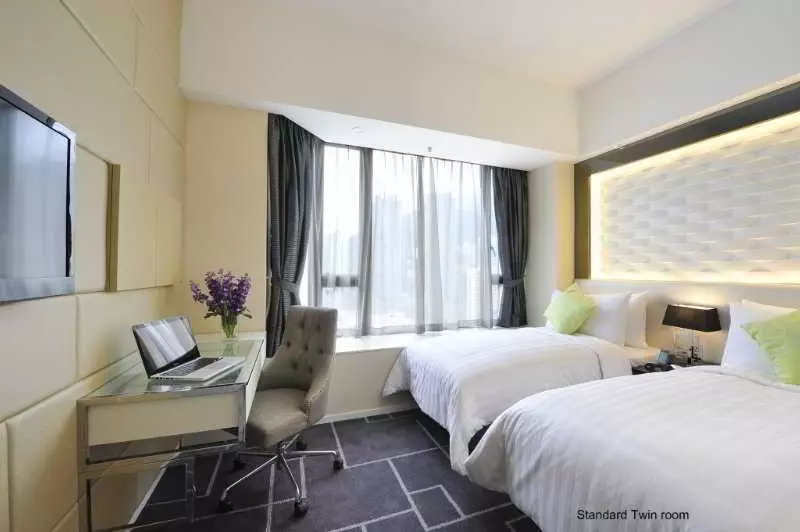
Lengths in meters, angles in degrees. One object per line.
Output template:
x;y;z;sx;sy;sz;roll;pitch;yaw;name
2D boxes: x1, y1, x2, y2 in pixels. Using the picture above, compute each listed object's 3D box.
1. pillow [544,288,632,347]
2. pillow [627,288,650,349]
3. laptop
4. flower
1.838;0.513;4.770;0.176;0.382;0.503;15;-7;-35;pillow
2.298;0.522;4.754;0.174;0.471;0.435;5;-18;1;pillow
-1.426;0.579;3.330;0.436;0.327;0.519;0;1;-2;laptop
-1.430;0.330;4.235;0.515;0.628;0.569;-3;1;-2;flower
